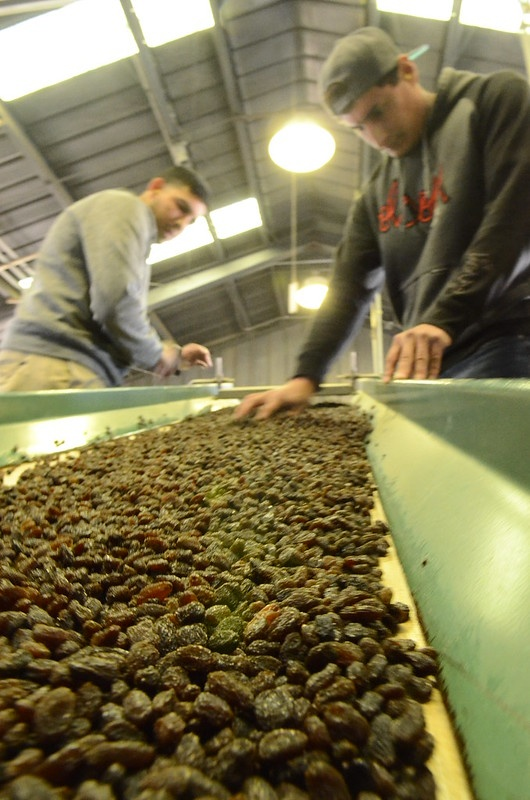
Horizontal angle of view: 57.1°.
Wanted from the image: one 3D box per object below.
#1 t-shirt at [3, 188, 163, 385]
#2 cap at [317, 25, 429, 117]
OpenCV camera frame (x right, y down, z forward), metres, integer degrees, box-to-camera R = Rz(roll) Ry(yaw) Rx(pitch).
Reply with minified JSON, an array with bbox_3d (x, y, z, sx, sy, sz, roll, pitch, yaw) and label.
[{"bbox_3d":[-0.856,-0.539,2.350,0.778,0.963,0.475,-3,9,-26],"label":"t-shirt"},{"bbox_3d":[0.452,-1.448,2.173,0.520,0.262,0.379,-27,17,-23],"label":"cap"}]
